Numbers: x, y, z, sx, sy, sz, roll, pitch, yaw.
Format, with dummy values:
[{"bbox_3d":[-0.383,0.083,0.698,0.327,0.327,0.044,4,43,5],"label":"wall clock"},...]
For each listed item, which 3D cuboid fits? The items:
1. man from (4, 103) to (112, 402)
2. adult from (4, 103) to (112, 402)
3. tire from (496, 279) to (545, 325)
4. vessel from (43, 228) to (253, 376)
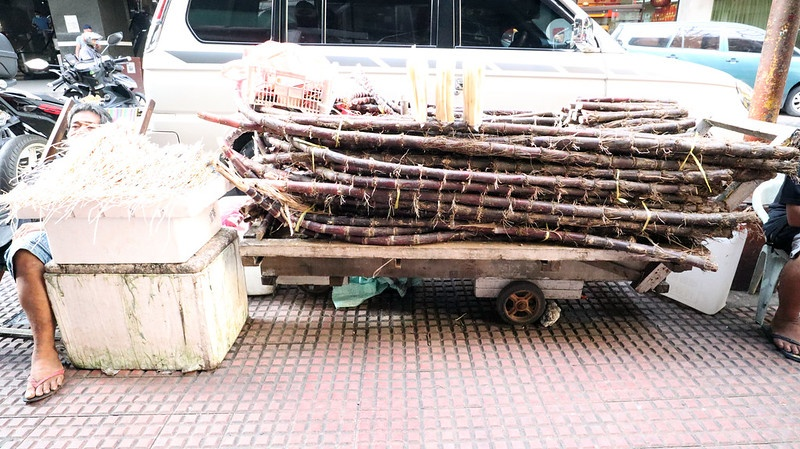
[{"bbox_3d":[-3.330,0.264,5.068,0.805,2.867,0.951,6,0,2],"label":"man"},{"bbox_3d":[-3.318,0.236,5.061,0.805,2.867,0.951,6,0,2],"label":"adult"},{"bbox_3d":[1.219,0.765,5.222,0.546,0.451,0.157,-2,10,-1],"label":"tire"},{"bbox_3d":[-2.434,0.771,5.304,1.596,0.957,1.073,-2,12,10],"label":"vessel"}]
